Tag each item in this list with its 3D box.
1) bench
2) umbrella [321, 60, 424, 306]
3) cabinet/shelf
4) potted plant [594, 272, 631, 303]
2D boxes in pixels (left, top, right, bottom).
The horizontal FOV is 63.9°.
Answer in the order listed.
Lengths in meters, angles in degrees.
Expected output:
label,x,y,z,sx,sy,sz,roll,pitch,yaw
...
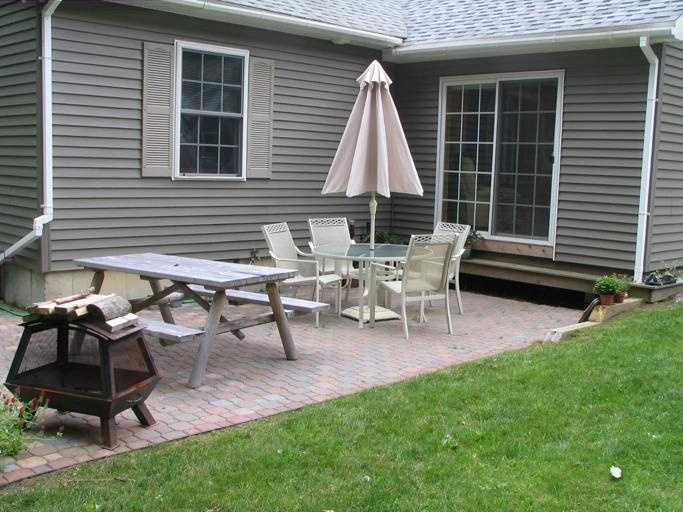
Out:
label,x,y,z,sx,sy,sz,roll,pitch,yaw
bench,-1.369,0.422,4.206,1.558,0.335,1.324,8,11,36
umbrella,0.394,-1.548,6.561,0.955,1.620,0.674,-5,12,-26
cabinet/shelf,-1.761,0.714,3.725,0.836,0.594,0.429,3,11,14
potted plant,3.243,0.387,6.533,0.502,0.381,0.505,3,6,29
